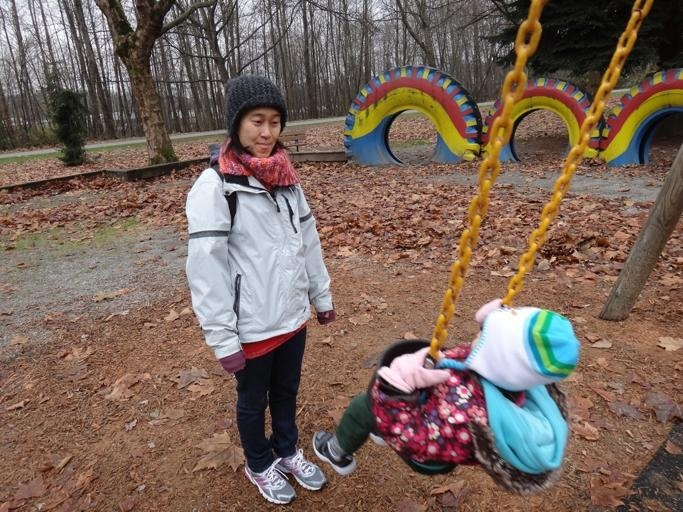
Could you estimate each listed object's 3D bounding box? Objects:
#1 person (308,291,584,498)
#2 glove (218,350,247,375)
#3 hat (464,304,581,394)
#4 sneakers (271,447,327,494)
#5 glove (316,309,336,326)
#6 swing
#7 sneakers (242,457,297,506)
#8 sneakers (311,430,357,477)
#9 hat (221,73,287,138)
[{"bbox_3d":[0.537,0.822,2.483,0.793,1.534,0.947,-10,62,-24],"label":"person"},{"bbox_3d":[-0.586,0.573,2.428,0.121,0.124,0.145,-18,-6,-43],"label":"glove"},{"bbox_3d":[0.767,0.396,1.894,0.340,0.304,0.429,7,-14,11],"label":"hat"},{"bbox_3d":[-0.245,1.388,2.921,0.407,0.178,0.165,21,47,21],"label":"sneakers"},{"bbox_3d":[-0.112,0.400,2.925,0.122,0.088,0.116,-17,-3,26],"label":"glove"},{"bbox_3d":[0.775,-0.074,1.948,0.549,1.921,0.919,15,27,32],"label":"swing"},{"bbox_3d":[-0.455,1.421,2.852,0.371,0.162,0.177,28,35,27],"label":"sneakers"},{"bbox_3d":[-0.055,1.198,2.742,0.165,0.126,0.348,-21,32,-38],"label":"sneakers"},{"bbox_3d":[-0.513,-0.870,2.572,0.313,0.288,0.389,-12,20,-39],"label":"hat"}]
